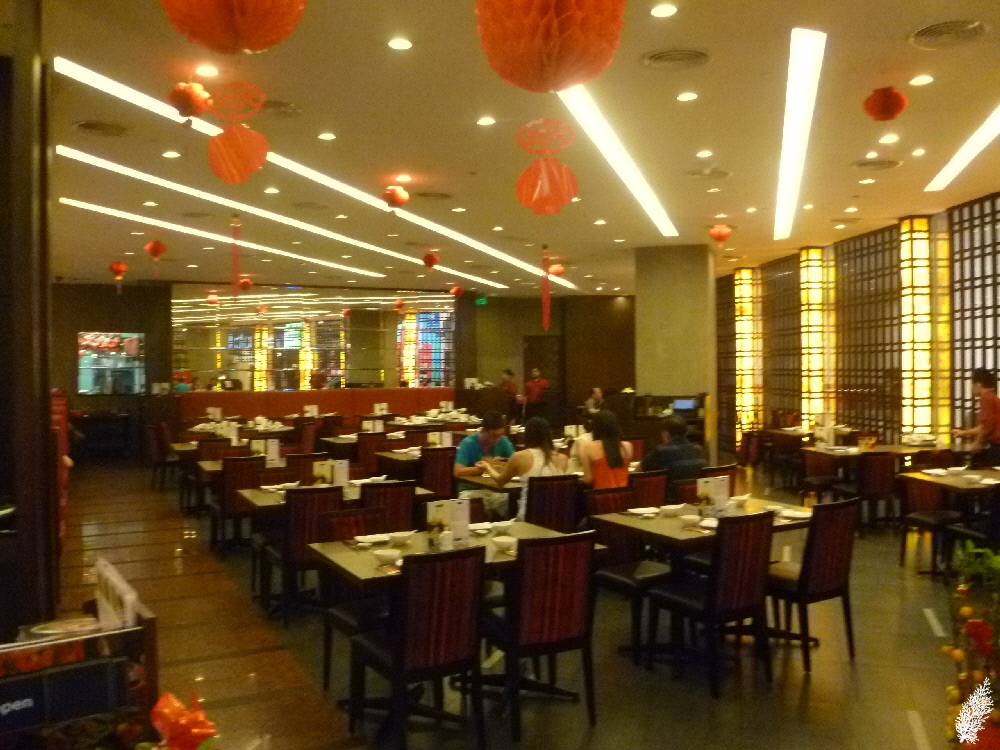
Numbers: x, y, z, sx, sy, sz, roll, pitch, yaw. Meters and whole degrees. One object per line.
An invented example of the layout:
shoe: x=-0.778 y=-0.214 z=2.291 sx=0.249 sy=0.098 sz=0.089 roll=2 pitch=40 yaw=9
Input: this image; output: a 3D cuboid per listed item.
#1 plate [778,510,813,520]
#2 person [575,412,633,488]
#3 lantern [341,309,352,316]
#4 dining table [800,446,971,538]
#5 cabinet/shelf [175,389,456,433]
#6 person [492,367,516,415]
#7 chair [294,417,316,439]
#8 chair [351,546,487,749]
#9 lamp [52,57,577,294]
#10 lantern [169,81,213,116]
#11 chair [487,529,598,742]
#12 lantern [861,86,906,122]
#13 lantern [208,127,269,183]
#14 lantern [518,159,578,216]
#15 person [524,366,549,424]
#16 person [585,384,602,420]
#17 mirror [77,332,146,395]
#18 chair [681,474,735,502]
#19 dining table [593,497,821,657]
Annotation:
plate: x=2.034 y=0.956 z=5.326 sx=0.164 sy=0.018 sz=0.150 roll=0 pitch=-1 yaw=-27
person: x=0.860 y=0.661 z=6.502 sx=0.478 sy=0.670 sz=0.407 roll=-8 pitch=13 yaw=-43
lantern: x=-3.965 y=-1.610 z=19.793 sx=0.186 sy=0.141 sz=0.168 roll=3 pitch=14 yaw=9
dining table: x=4.720 y=1.466 z=9.221 sx=1.815 sy=0.939 sz=1.566 roll=-2 pitch=3 yaw=-10
cabinet/shelf: x=-4.083 y=0.598 z=17.043 sx=5.883 sy=0.809 sz=0.922 roll=1 pitch=0 yaw=-38
person: x=0.173 y=0.428 z=19.331 sx=0.484 sy=1.120 sz=1.046 roll=1 pitch=0 yaw=0
chair: x=-3.207 y=0.847 z=12.687 sx=0.365 sy=0.327 sz=0.756 roll=1 pitch=-1 yaw=-14
chair: x=-0.448 y=1.434 z=4.125 sx=0.743 sy=1.049 sz=0.500 roll=1 pitch=0 yaw=31
lamp: x=-2.237 y=-2.245 z=8.996 sx=5.389 sy=0.111 sz=0.198 roll=17 pitch=-24 yaw=-29
lantern: x=-2.305 y=-2.065 z=5.705 sx=0.219 sy=0.271 sz=0.275 roll=1 pitch=0 yaw=28
chair: x=0.240 y=1.407 z=4.314 sx=0.650 sy=1.104 sz=0.371 roll=1 pitch=0 yaw=-3
lantern: x=3.014 y=-2.141 z=6.054 sx=0.274 sy=0.255 sz=0.175 roll=1 pitch=0 yaw=18
lantern: x=-2.061 y=-1.723 z=5.992 sx=0.317 sy=0.451 sz=0.366 roll=1 pitch=0 yaw=-42
lantern: x=0.389 y=-1.564 z=6.565 sx=0.591 sy=0.643 sz=0.464 roll=-1 pitch=3 yaw=1
person: x=0.844 y=0.438 z=18.641 sx=0.534 sy=1.196 sz=1.125 roll=1 pitch=0 yaw=2
person: x=1.987 y=0.523 z=16.609 sx=0.267 sy=0.753 sz=0.794 roll=7 pitch=11 yaw=4
mirror: x=-8.839 y=-0.285 z=17.331 sx=1.680 sy=1.534 sz=0.117 roll=-2 pitch=1 yaw=-27
chair: x=1.522 y=0.828 z=5.720 sx=0.364 sy=0.201 sz=0.182 roll=0 pitch=-4 yaw=-30
dining table: x=1.339 y=1.151 z=5.433 sx=1.849 sy=0.959 sz=1.109 roll=-1 pitch=1 yaw=-36
